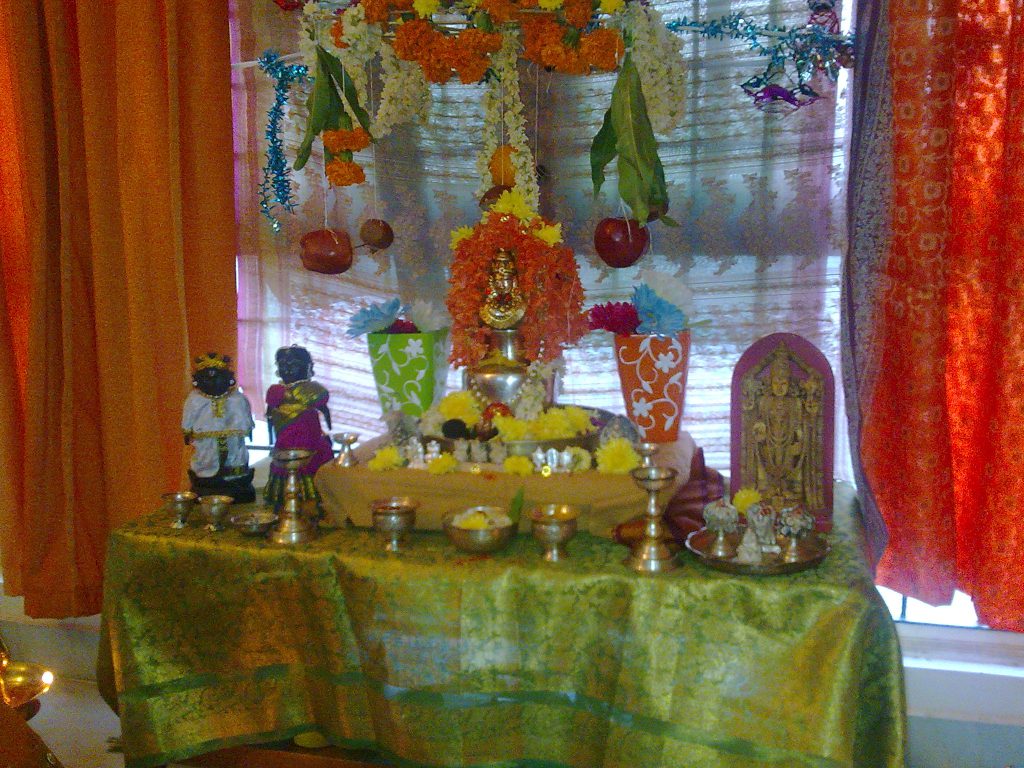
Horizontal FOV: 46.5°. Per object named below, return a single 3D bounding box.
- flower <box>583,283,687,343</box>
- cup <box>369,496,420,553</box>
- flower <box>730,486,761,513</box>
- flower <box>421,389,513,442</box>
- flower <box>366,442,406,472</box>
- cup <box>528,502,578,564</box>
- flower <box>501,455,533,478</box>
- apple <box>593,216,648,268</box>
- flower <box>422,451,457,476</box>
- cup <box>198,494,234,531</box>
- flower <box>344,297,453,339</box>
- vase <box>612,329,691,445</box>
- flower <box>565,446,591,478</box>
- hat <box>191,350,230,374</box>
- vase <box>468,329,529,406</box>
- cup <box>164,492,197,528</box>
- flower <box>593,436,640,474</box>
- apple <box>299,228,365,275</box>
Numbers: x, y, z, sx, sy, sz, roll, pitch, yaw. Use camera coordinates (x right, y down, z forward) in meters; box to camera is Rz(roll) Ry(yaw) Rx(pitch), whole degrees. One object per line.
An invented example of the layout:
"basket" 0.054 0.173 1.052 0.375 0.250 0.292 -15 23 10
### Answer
"flower" 0.358 -0.218 3.498 0.233 0.098 0.195 -14 -10 10
"cup" -0.314 0.371 3.166 0.136 0.098 0.127 0 -3 0
"flower" 0.621 0.303 3.155 0.069 0.024 0.063 21 61 27
"flower" -0.132 0.093 3.398 0.191 0.070 0.177 -3 3 -9
"flower" -0.350 0.202 3.339 0.117 0.055 0.087 -6 11 -32
"cup" 0.117 0.404 3.118 0.113 0.116 0.107 -2 1 0
"flower" 0.020 0.221 3.253 0.064 0.015 0.058 8 21 20
"apple" 0.323 -0.420 3.494 0.157 0.133 0.146 7 12 20
"flower" -0.193 0.211 3.287 0.064 0.032 0.060 -13 23 -27
"cup" -0.808 0.355 3.308 0.100 0.075 0.091 9 -5 1
"flower" -0.344 -0.209 3.725 0.191 0.069 0.188 -4 -1 34
"vase" 0.412 0.004 3.507 0.214 0.334 0.092 0 11 5
"flower" 0.188 0.206 3.281 0.066 0.062 0.052 -2 10 -6
"hat" -0.877 -0.066 3.489 0.088 0.025 0.081 -1 13 -9
"vase" -0.010 -0.036 3.448 0.233 0.217 0.207 2 -11 3
"cup" -0.913 0.348 3.344 0.095 0.075 0.097 10 4 -1
"flower" 0.293 0.194 3.241 0.106 0.094 0.247 -3 9 -13
"apple" -0.577 -0.412 3.789 0.160 0.140 0.164 -7 -10 26
